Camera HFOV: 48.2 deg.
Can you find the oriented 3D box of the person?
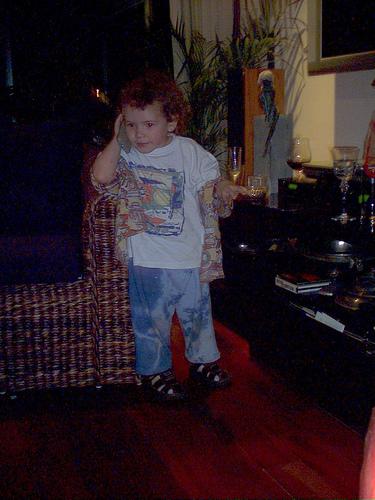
[{"bbox_3d":[-0.060,-0.024,1.192,0.389,0.916,0.290,-4,9,-12],"label":"person"}]

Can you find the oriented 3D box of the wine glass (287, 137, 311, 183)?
[{"bbox_3d":[0.422,-0.337,1.552,0.080,0.153,0.095,-3,9,-8],"label":"wine glass"}]

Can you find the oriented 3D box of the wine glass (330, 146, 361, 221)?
[{"bbox_3d":[0.455,-0.193,1.216,0.076,0.220,0.146,1,9,19],"label":"wine glass"}]

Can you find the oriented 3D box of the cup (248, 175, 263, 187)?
[{"bbox_3d":[0.278,-0.279,1.693,0.050,0.037,0.050,1,5,0],"label":"cup"}]

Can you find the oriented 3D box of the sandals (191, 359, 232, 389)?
[{"bbox_3d":[0.075,0.403,1.339,0.051,0.060,0.144,1,-11,-26],"label":"sandals"}]

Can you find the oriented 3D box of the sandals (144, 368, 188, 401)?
[{"bbox_3d":[-0.066,0.404,1.272,0.057,0.057,0.146,0,-3,-38],"label":"sandals"}]
